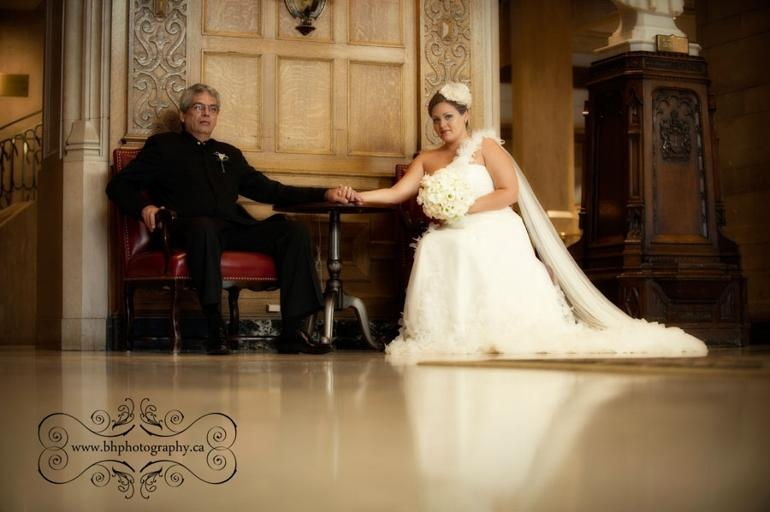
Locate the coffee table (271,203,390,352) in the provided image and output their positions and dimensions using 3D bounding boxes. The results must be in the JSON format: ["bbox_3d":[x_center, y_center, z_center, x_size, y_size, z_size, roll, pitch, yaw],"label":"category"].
[{"bbox_3d":[-0.342,0.114,5.143,0.768,0.951,0.787,-1,1,6],"label":"coffee table"}]

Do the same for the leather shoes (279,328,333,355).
[{"bbox_3d":[-0.541,0.552,4.737,0.400,0.185,0.143,-3,-6,15],"label":"leather shoes"}]

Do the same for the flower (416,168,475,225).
[{"bbox_3d":[0.392,-0.408,4.864,0.336,0.353,0.274,6,-12,13],"label":"flower"}]

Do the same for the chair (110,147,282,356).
[{"bbox_3d":[-1.444,-0.099,5.251,0.957,1.341,1.087,-1,4,-7],"label":"chair"}]

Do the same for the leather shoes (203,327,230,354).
[{"bbox_3d":[-1.041,0.533,4.645,0.138,0.167,0.089,0,1,-11],"label":"leather shoes"}]
